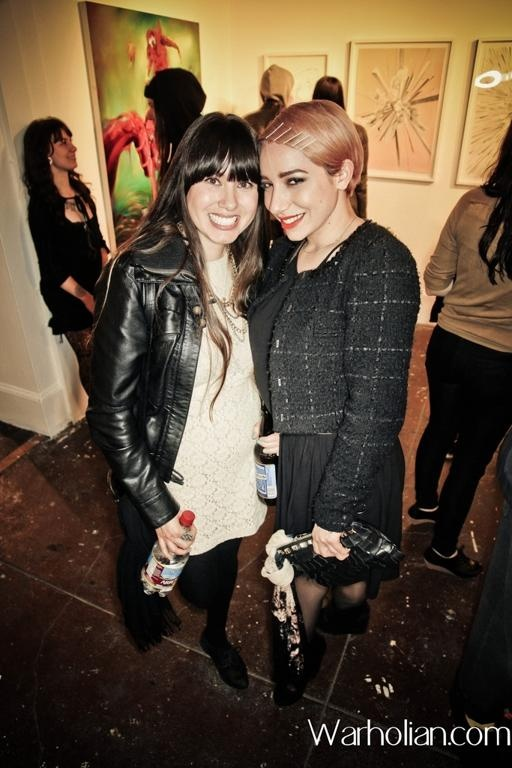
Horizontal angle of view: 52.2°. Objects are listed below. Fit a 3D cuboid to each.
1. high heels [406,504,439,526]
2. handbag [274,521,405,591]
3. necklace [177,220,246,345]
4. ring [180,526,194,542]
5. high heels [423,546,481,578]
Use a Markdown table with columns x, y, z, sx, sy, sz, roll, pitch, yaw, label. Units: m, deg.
| x | y | z | sx | sy | sz | roll | pitch | yaw | label |
| --- | --- | --- | --- | --- | --- | --- | --- | --- | --- |
| 0.837 | 0.662 | 2.647 | 0.201 | 0.085 | 0.074 | -2 | 33 | 5 | high heels |
| 0.210 | 0.436 | 1.353 | 0.296 | 0.109 | 0.181 | -2 | -11 | -12 | handbag |
| -0.121 | -0.251 | 1.360 | 0.213 | 0.283 | 0.089 | -12 | 9 | -33 | necklace |
| -0.176 | 0.389 | 1.346 | 0.030 | 0.041 | 0.019 | -2 | 5 | -36 | ring |
| 0.877 | 0.803 | 2.381 | 0.249 | 0.115 | 0.103 | 7 | 19 | 10 | high heels |
